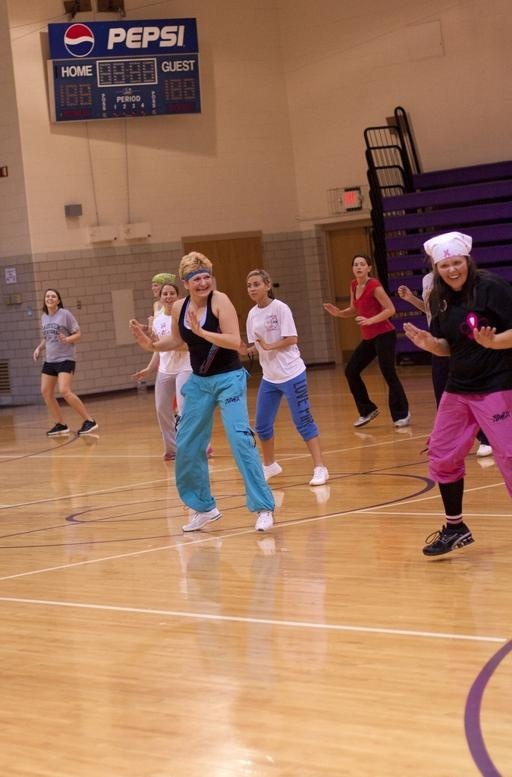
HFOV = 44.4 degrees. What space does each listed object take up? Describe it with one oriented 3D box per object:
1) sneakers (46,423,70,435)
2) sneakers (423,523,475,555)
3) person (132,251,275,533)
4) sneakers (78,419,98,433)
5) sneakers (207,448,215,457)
[{"bbox_3d":[-3.034,0.645,9.693,0.145,0.178,0.425,-8,-11,43],"label":"sneakers"},{"bbox_3d":[0.971,0.756,3.134,0.252,0.115,0.087,-29,3,-7],"label":"sneakers"},{"bbox_3d":[-0.308,0.030,3.943,0.486,1.560,0.713,-8,3,-43],"label":"person"},{"bbox_3d":[-2.510,0.591,9.512,0.131,0.155,0.363,-7,-2,22],"label":"sneakers"},{"bbox_3d":[-0.507,0.723,7.069,0.112,0.107,0.124,-1,-8,-6],"label":"sneakers"}]
